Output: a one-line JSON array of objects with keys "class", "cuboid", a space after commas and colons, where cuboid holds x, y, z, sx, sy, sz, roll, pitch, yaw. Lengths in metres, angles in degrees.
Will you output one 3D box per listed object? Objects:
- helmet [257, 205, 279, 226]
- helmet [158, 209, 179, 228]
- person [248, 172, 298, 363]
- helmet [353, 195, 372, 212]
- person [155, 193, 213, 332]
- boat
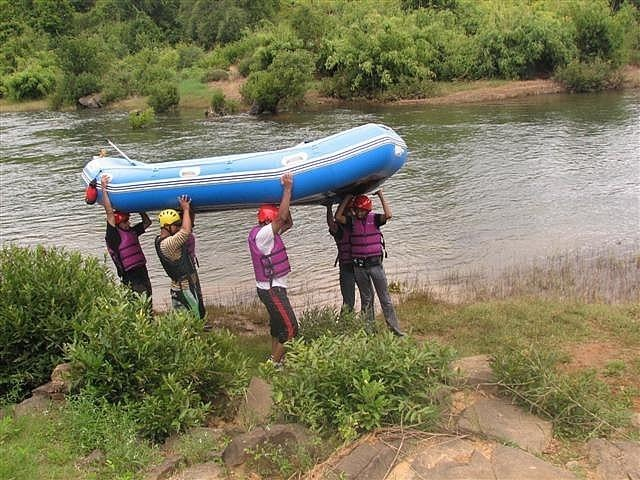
[{"class": "helmet", "cuboid": [-1.107, -0.517, 15.466, 0.438, 0.392, 0.313, -51, 15, -1]}, {"class": "helmet", "cuboid": [-3.121, -0.455, 15.688, 0.407, 0.333, 0.290, -36, 27, -1]}, {"class": "person", "cuboid": [-0.897, 0.785, 15.319, 0.848, 3.424, 1.470, -4, 18, 7]}, {"class": "helmet", "cuboid": [0.899, -0.747, 16.319, 0.274, 0.315, 0.359, 20, -36, -23]}, {"class": "person", "cuboid": [-2.883, 0.511, 15.672, 0.779, 2.479, 1.224, -10, 18, -10]}, {"class": "boat", "cuboid": [-1.360, -1.334, 16.394, 5.454, 1.459, 2.733, -3, 1, 10]}]
